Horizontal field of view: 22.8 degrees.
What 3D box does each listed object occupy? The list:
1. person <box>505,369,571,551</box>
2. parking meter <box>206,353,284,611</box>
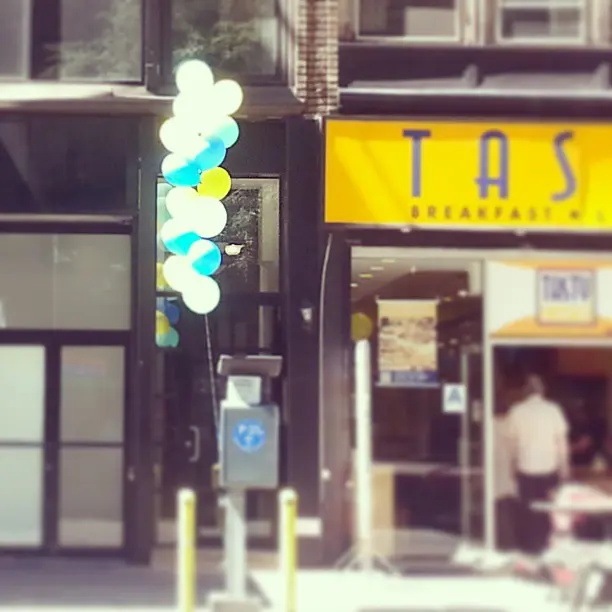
[{"bbox_3d":[2.158,1.575,15.282,0.581,1.601,0.728,1,2,-17],"label":"person"},{"bbox_3d":[-0.562,1.535,13.707,0.659,2.105,0.737,-1,0,-4],"label":"parking meter"}]
